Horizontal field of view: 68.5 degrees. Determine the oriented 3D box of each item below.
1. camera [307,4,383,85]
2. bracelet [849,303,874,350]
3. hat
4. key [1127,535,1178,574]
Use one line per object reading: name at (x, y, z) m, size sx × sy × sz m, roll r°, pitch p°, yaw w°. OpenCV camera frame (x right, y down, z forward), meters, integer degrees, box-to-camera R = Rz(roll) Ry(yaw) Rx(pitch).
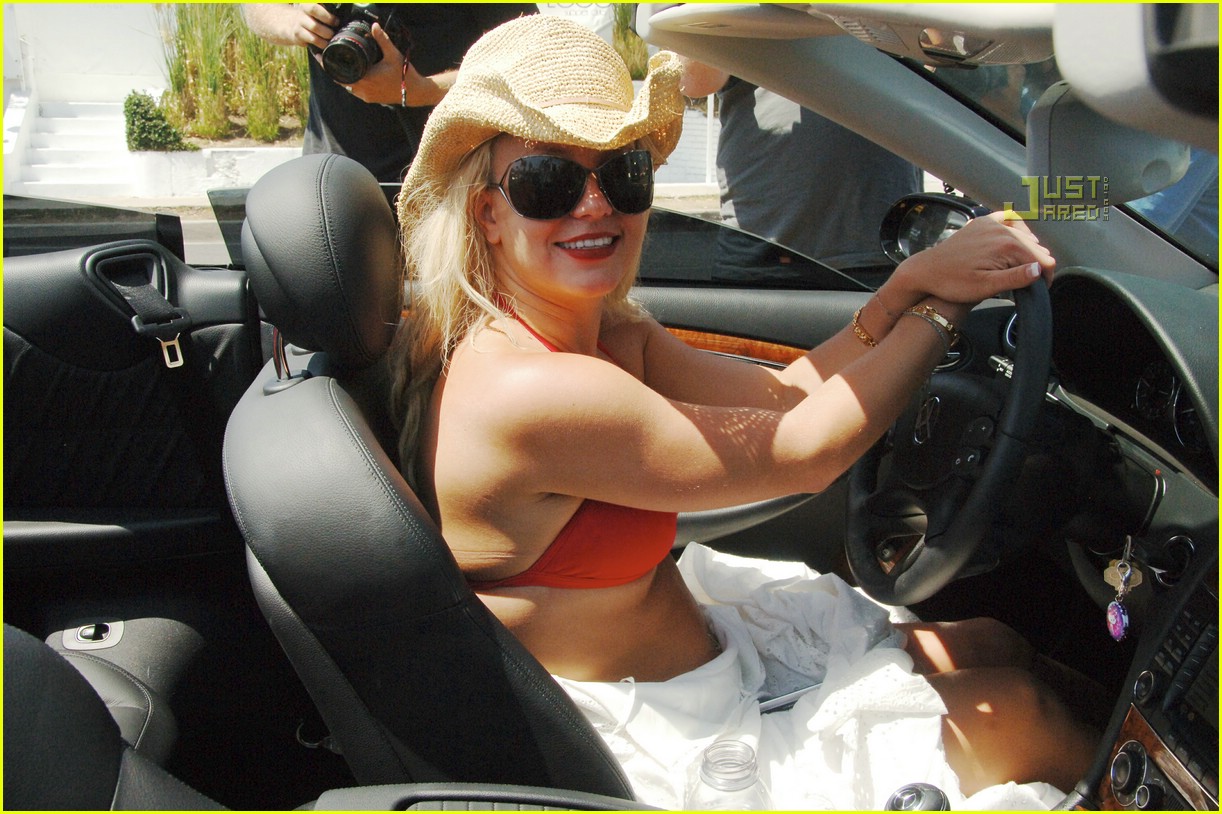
camera at (-0.729, -1.060, 2.648) m, size 0.132 × 0.230 × 0.243 m, roll -3°, pitch 36°, yaw 10°
bracelet at (0.523, -0.168, 1.902) m, size 0.052 × 0.027 × 0.076 m, roll 1°, pitch 64°, yaw 24°
hat at (-0.119, -0.551, 1.616) m, size 0.325 × 0.231 × 0.432 m, roll 9°, pitch -17°, yaw -24°
key at (0.879, 0.235, 1.470) m, size 0.062 × 0.048 × 0.064 m, roll -8°, pitch -3°, yaw 18°
